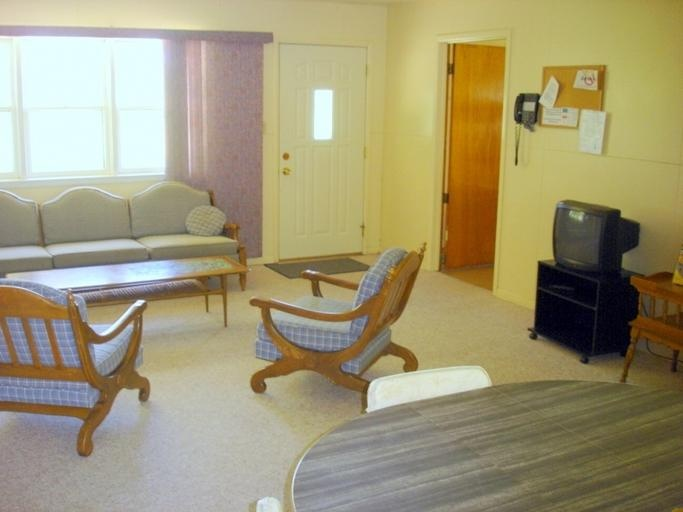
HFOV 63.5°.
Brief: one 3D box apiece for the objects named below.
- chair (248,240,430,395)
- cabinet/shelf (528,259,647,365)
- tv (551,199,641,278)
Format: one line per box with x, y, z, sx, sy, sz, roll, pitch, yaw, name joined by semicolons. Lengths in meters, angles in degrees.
0.052;0.254;3.929;1.205;1.178;0.929;5;13;23;chair
2.066;0.306;4.756;0.747;0.869;0.932;-4;11;-24;cabinet/shelf
1.972;-0.173;4.539;0.605;0.579;0.613;-7;13;-18;tv
